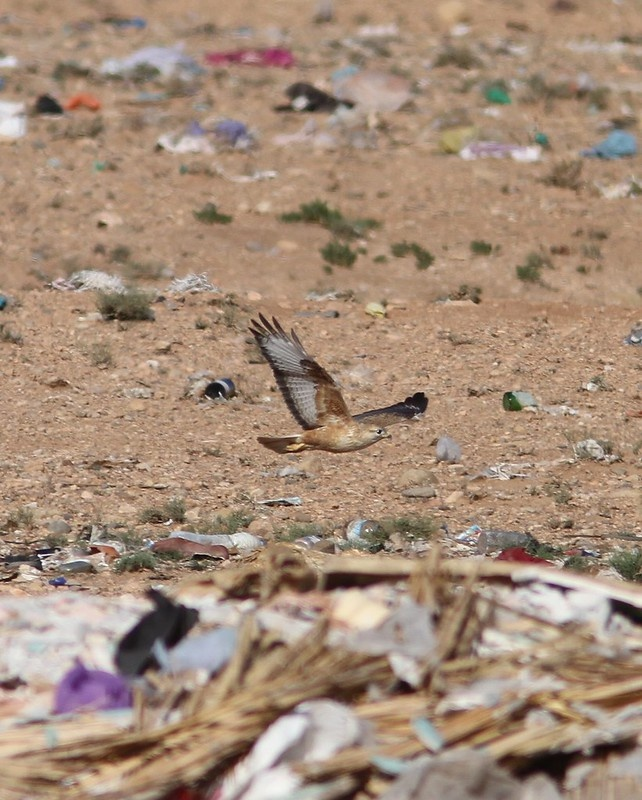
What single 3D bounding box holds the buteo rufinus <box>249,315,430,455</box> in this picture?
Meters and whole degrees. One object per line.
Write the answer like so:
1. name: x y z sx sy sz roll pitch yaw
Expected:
1. buteo rufinus: 0.151 -0.101 11.010 0.833 0.393 1.658 -4 -19 31
